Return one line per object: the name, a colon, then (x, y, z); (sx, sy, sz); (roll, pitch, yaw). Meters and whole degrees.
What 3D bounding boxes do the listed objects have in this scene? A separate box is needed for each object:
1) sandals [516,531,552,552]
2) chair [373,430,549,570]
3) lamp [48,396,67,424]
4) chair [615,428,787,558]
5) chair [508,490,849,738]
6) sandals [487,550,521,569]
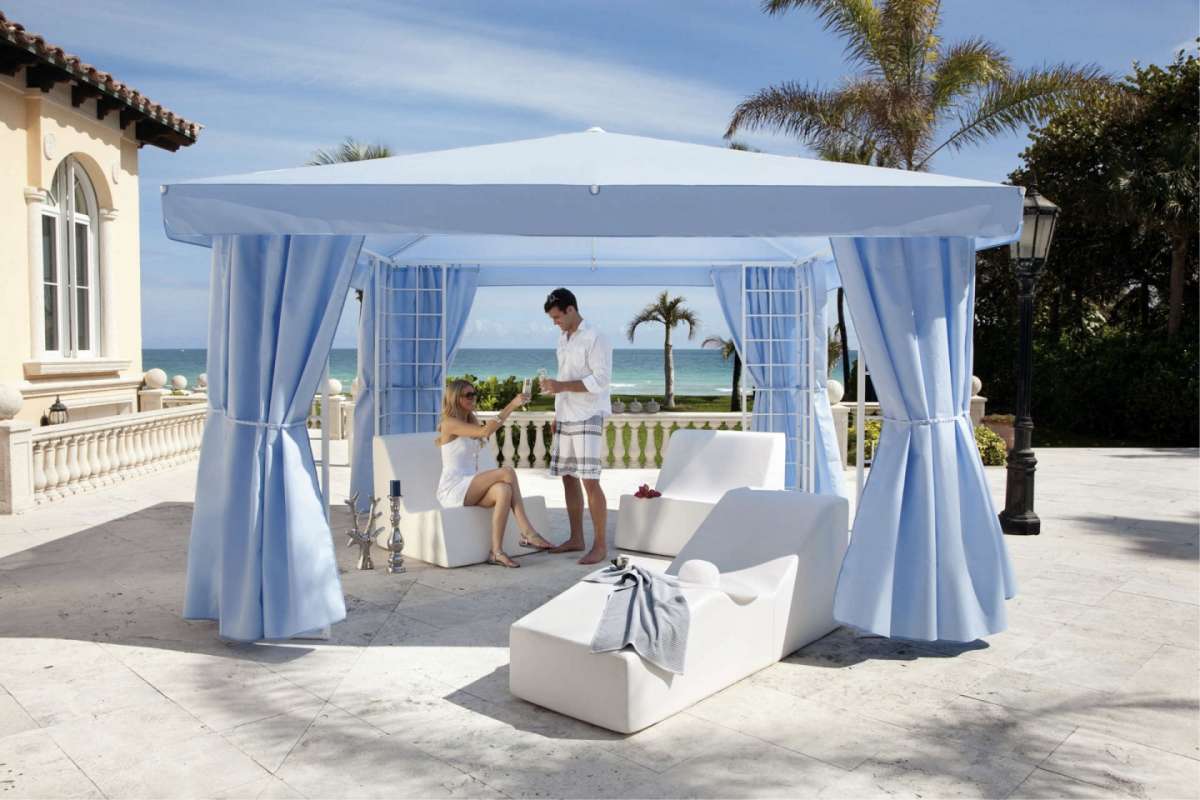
sandals: (-0.602, 1.295, 7.974); (0.339, 0.152, 0.131); (3, 1, -6)
chair: (-1.324, 0.917, 8.101); (1.205, 1.192, 1.264); (0, -1, -41)
lamp: (-7.262, 0.127, 11.657); (0.202, 0.324, 0.443); (-6, 14, -26)
chair: (1.083, 0.978, 8.462); (1.176, 1.109, 1.295); (-1, -7, 27)
chair: (0.639, 1.159, 5.844); (1.083, 1.216, 2.595); (3, 6, 42)
sandals: (-0.850, 1.401, 7.708); (0.326, 0.142, 0.124); (-2, 0, 36)
